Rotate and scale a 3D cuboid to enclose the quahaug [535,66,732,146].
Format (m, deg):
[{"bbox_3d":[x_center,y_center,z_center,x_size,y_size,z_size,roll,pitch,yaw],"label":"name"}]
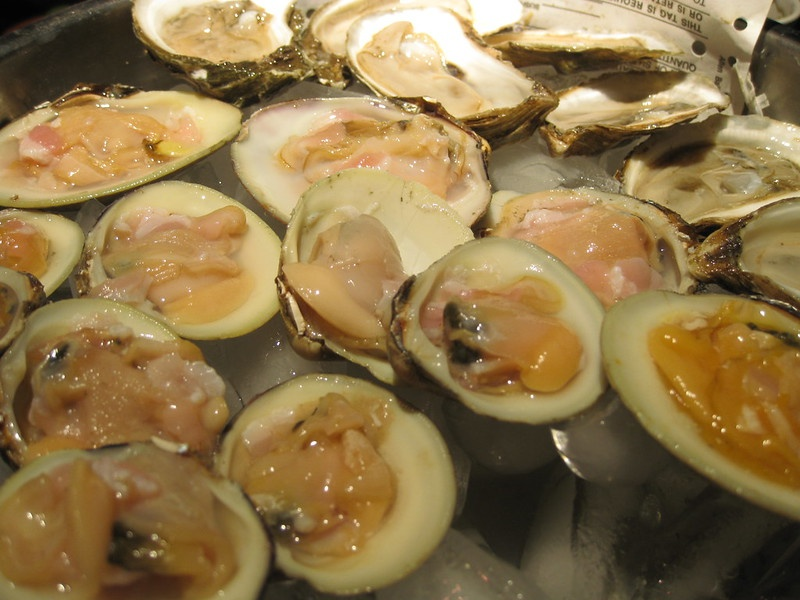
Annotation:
[{"bbox_3d":[0.732,-0.634,2.604,0.497,0.101,0.347,-14,33,-10],"label":"quahaug"}]

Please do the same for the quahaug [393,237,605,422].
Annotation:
[{"bbox_3d":[0.262,0.079,1.888,0.567,0.175,0.440,-13,61,-10],"label":"quahaug"}]

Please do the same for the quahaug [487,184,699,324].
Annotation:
[{"bbox_3d":[0.543,-0.147,2.164,0.572,0.136,0.339,-3,36,-10],"label":"quahaug"}]

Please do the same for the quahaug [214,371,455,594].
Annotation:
[{"bbox_3d":[-0.137,0.436,1.815,0.523,0.143,0.464,29,60,4],"label":"quahaug"}]

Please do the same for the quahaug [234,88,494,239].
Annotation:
[{"bbox_3d":[-0.114,-0.425,2.459,0.668,0.169,0.432,-6,51,-5],"label":"quahaug"}]
